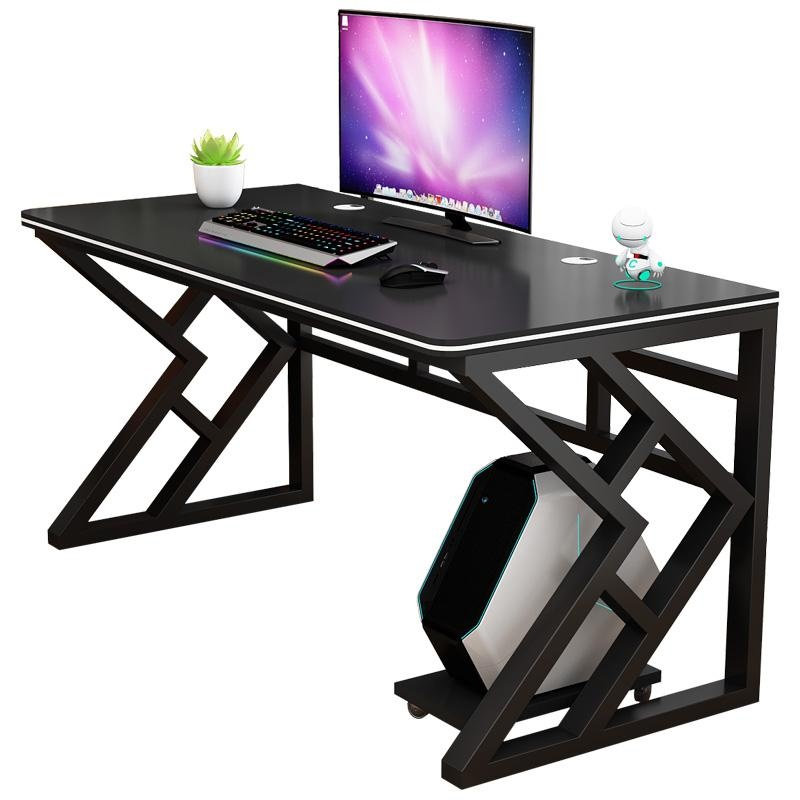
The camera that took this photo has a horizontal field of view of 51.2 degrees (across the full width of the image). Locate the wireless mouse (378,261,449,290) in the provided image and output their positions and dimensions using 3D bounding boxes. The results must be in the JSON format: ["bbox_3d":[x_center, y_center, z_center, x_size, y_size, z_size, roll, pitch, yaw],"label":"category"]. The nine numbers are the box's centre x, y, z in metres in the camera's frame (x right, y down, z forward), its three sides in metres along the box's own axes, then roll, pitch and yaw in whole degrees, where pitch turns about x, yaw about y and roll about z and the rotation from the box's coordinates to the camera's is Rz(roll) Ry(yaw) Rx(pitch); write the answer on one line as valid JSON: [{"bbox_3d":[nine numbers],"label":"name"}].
[{"bbox_3d":[0.025,-0.280,1.834,0.104,0.075,0.029,-7,-73,-28],"label":"wireless mouse"}]

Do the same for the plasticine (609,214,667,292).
[{"bbox_3d":[0.529,-0.335,1.846,0.128,0.159,0.109,-6,15,-32],"label":"plasticine"}]
